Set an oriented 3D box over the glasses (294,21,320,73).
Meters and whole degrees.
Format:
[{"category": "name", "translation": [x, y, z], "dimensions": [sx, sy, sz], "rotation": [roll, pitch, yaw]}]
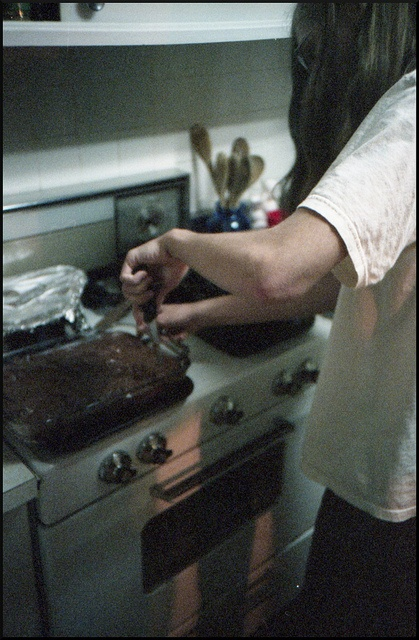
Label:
[{"category": "glasses", "translation": [0.105, -0.287, 0.526], "dimensions": [0.028, 0.037, 0.011], "rotation": [-2, 19, -14]}]
